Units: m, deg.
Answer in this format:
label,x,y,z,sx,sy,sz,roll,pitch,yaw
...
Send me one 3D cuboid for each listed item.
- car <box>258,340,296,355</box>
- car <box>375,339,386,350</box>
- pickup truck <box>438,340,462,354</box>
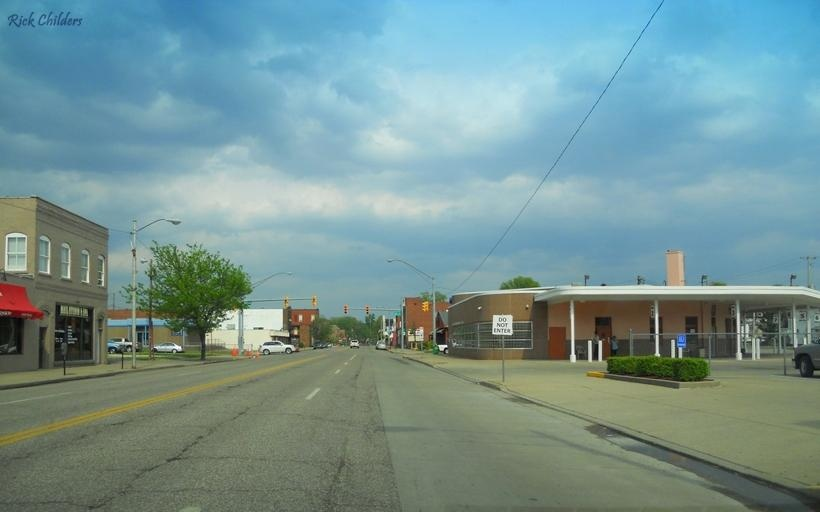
label,x,y,z,sx,sy,sz,roll,pitch,yaw
car,-14.543,10.105,90.398,3.407,1.240,1.651,-2,-3,-7
car,-4.562,13.901,126.539,1.690,1.462,2.902,0,-2,3
pickup truck,3.880,8.850,80.911,1.423,0.955,2.311,1,-11,-13
